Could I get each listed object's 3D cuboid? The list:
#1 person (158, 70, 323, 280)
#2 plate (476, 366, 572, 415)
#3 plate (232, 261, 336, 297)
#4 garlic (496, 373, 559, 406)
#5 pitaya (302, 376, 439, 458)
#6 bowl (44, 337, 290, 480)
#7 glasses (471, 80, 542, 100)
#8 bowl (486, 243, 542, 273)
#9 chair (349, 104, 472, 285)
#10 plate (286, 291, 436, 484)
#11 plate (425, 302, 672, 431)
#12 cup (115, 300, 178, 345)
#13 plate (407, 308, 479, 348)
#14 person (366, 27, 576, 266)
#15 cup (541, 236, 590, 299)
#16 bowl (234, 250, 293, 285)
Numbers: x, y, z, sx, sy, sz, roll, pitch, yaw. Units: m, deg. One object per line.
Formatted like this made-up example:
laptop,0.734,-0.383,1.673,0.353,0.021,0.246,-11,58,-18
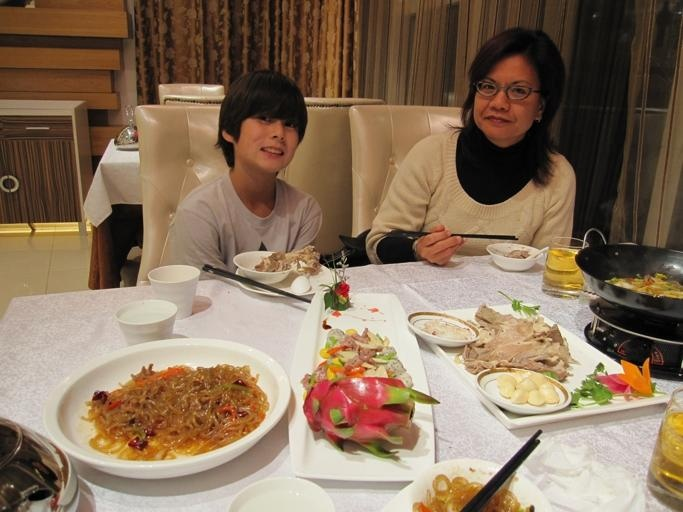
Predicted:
person,-0.369,-0.265,1.929,0.586,0.781,0.474,-1,16,-12
plate,0.383,0.279,1.049,0.195,0.051,0.133,2,19,5
plate,-0.181,0.041,1.525,0.280,0.075,0.214,-6,13,-31
garlic,0.386,0.275,1.028,0.109,0.053,0.092,0,7,-21
pitaya,0.053,0.272,0.898,0.257,0.105,0.164,4,22,20
bowl,-0.322,0.274,0.949,0.427,0.093,0.333,-7,20,-22
glasses,0.675,-0.668,2.010,0.241,0.080,0.095,7,20,18
bowl,0.618,-0.005,1.742,0.142,0.060,0.116,-3,18,-11
chair,0.303,-0.366,2.613,0.446,0.764,0.434,-4,20,-30
plate,0.040,0.220,1.037,0.368,0.244,0.282,-4,14,-24
plate,0.521,0.188,1.126,0.236,0.044,0.328,-7,24,-15
cup,-0.452,0.151,1.155,0.110,0.068,0.108,0,23,0
plate,0.262,0.184,1.256,0.174,0.074,0.182,7,9,43
person,0.593,-0.489,2.145,0.853,0.879,0.291,1,19,1
cup,0.706,0.036,1.541,0.101,0.145,0.095,2,6,0
bowl,-0.253,0.014,1.518,0.184,0.093,0.146,-8,17,-35
